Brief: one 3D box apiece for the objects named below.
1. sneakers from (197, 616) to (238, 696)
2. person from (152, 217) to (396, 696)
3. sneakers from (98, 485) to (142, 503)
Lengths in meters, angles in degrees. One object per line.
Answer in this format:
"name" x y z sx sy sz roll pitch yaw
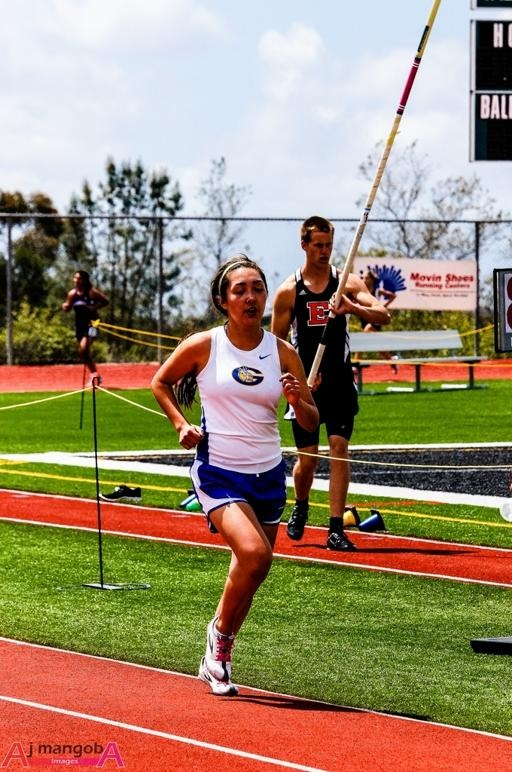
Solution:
"sneakers" -0.123 0.898 3.377 0.085 0.176 0.251 14 0 -18
"person" -0.112 0.271 3.583 0.496 1.449 0.531 2 2 21
"sneakers" -1.121 0.893 8.630 0.336 0.140 0.134 1 -5 2
